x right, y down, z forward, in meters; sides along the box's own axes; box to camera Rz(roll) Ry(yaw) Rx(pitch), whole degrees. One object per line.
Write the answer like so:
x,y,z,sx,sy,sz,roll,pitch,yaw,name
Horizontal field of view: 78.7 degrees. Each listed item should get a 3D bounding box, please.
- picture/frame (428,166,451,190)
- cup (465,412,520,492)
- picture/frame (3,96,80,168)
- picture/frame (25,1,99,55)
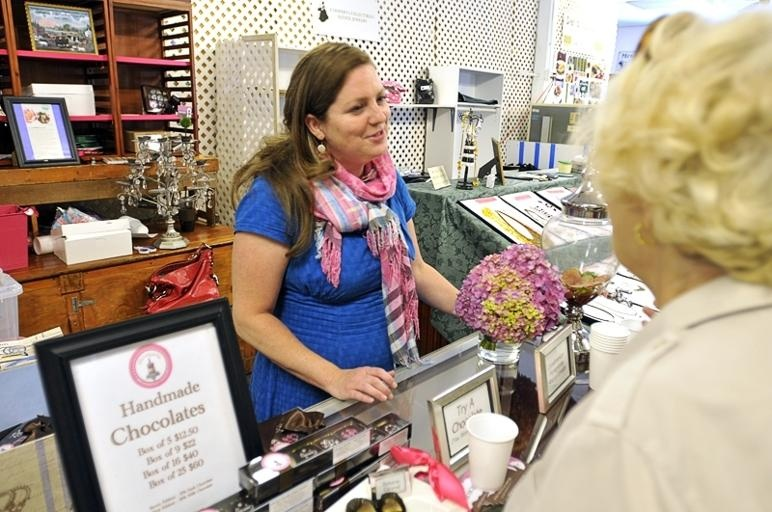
0.450,-0.676,4.093,0.218,0.217,0.054,-19,5,-43,picture/frame
0.232,0.436,1.120,0.146,0.152,0.150,1,13,0,cup
-2.160,-0.762,2.913,0.403,0.523,0.055,-13,-5,-43,picture/frame
-2.051,-1.422,2.943,0.428,0.323,0.020,-8,7,-44,picture/frame
